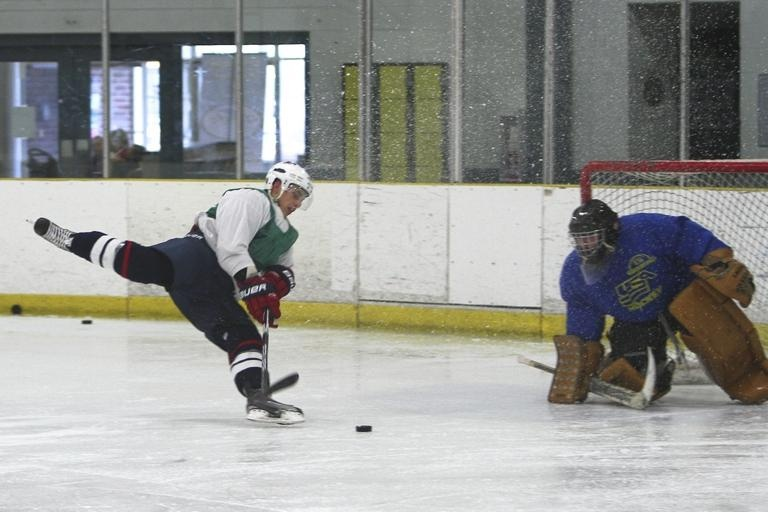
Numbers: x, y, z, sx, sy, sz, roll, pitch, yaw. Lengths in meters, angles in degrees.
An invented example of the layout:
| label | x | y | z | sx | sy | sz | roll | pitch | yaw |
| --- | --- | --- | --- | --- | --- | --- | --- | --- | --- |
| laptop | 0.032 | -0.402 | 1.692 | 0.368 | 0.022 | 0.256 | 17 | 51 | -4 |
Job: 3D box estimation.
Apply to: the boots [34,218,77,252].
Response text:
| label | x | y | z | sx | sy | sz | roll | pitch | yaw |
| --- | --- | --- | --- | --- | --- | --- | --- | --- | --- |
| boots | -2.109 | -0.150 | 10.596 | 0.407 | 0.111 | 0.144 | 24 | 7 | -12 |

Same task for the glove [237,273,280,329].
| label | x | y | z | sx | sy | sz | roll | pitch | yaw |
| --- | --- | --- | --- | --- | --- | --- | --- | --- | --- |
| glove | -0.761 | 0.266 | 10.419 | 0.240 | 0.327 | 0.129 | 0 | 3 | -2 |

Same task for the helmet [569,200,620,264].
| label | x | y | z | sx | sy | sz | roll | pitch | yaw |
| --- | --- | --- | --- | --- | --- | --- | --- | --- | --- |
| helmet | 1.318 | -0.157 | 10.835 | 0.272 | 0.399 | 0.411 | -1 | -2 | -10 |
